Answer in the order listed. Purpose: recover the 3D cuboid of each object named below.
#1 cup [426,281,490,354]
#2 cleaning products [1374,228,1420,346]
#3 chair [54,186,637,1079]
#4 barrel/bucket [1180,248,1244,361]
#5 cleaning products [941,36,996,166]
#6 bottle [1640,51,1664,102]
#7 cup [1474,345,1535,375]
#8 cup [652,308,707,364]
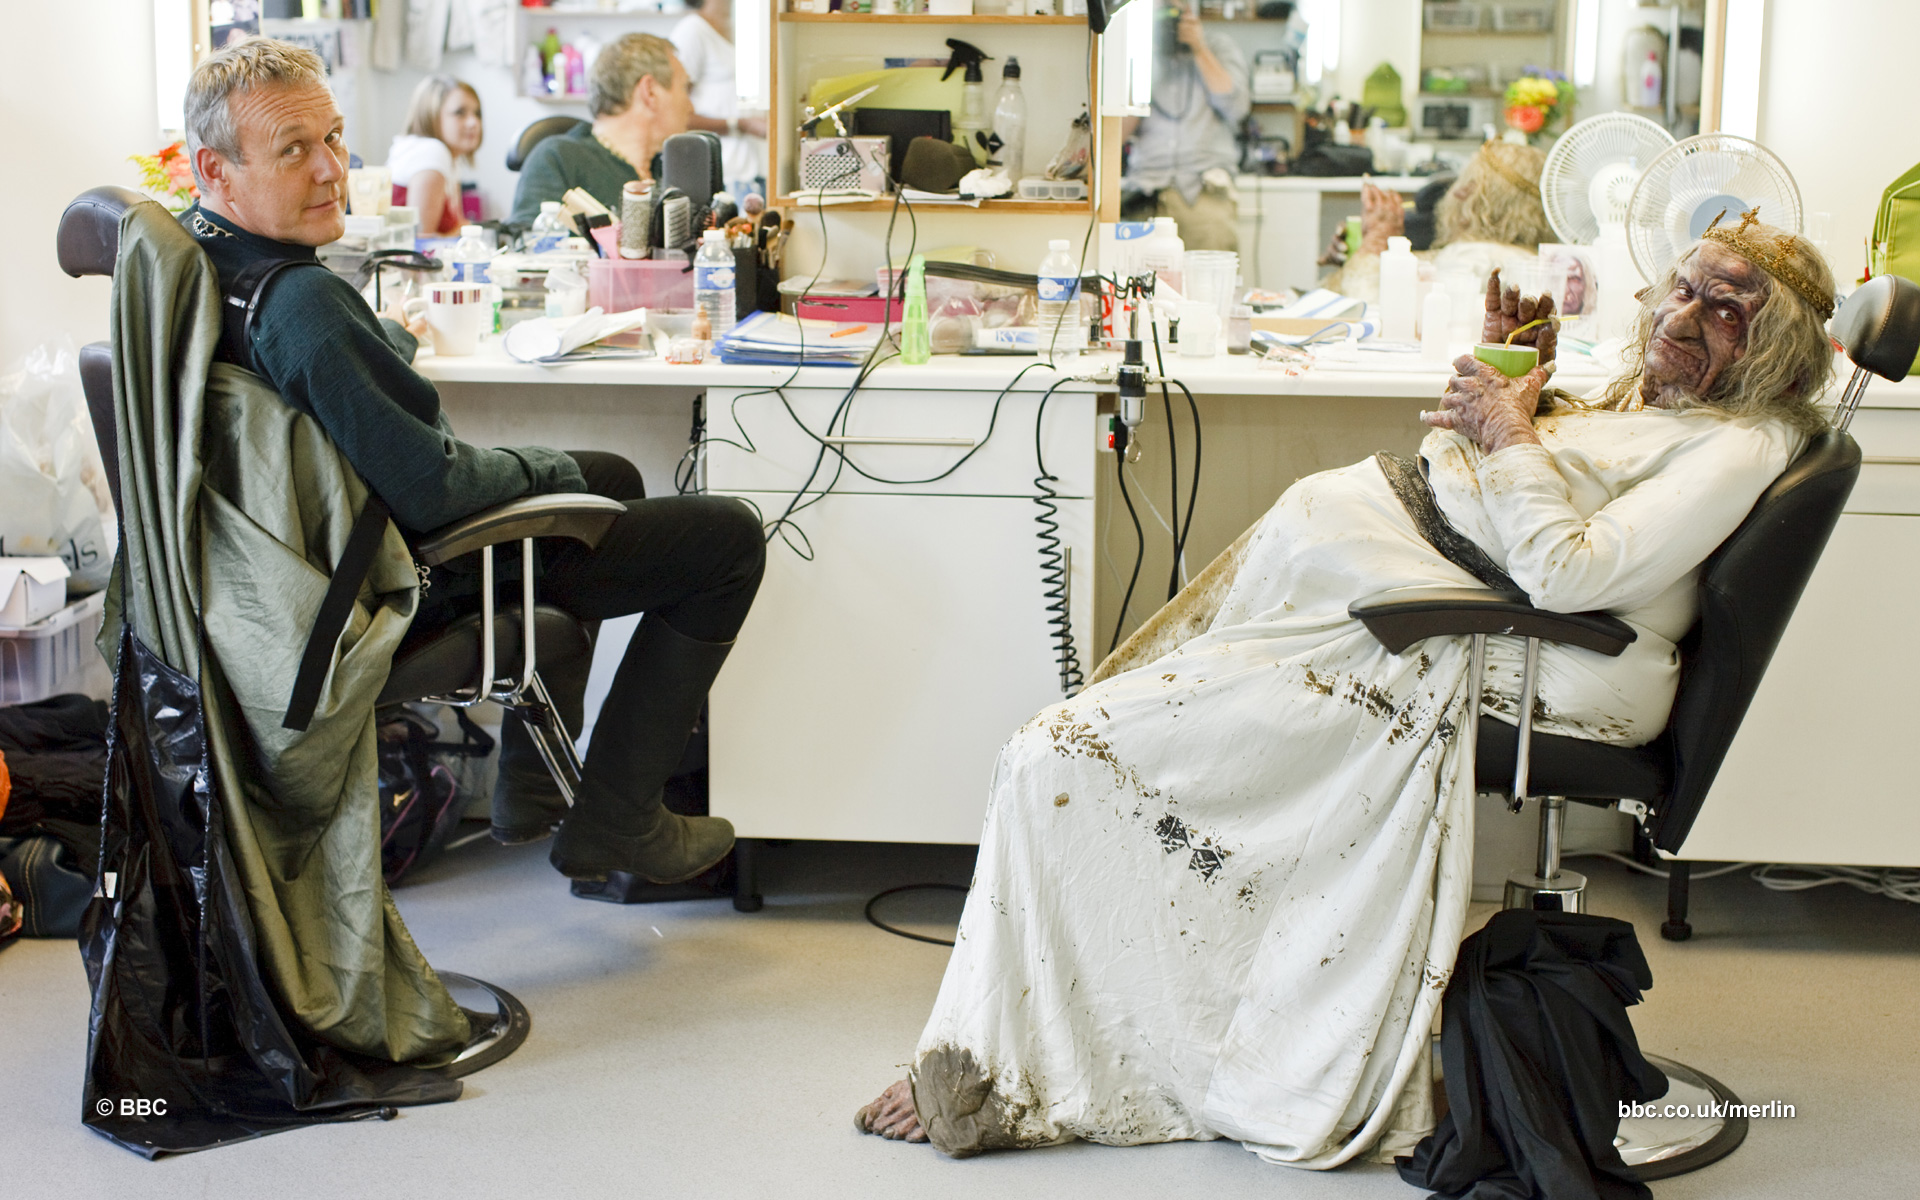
[{"bbox_3d":[-1.054,-0.601,3.824,0.127,0.140,0.139,2,4,0],"label":"cup"},{"bbox_3d":[0.982,-0.710,4.103,0.125,0.134,0.317,-2,-23,10],"label":"cleaning products"},{"bbox_3d":[-1.167,0.050,3.403,0.853,1.672,0.786,1,7,42],"label":"chair"},{"bbox_3d":[0.553,-0.669,4.047,0.142,0.262,0.246,2,10,8],"label":"barrel/bucket"},{"bbox_3d":[0.019,-1.147,4.191,0.129,0.299,0.125,0,11,-2],"label":"cleaning products"},{"bbox_3d":[1.692,-1.285,4.427,0.016,0.111,0.070,-8,17,-26],"label":"bottle"},{"bbox_3d":[1.018,-0.454,3.364,0.090,0.060,0.094,-2,6,0],"label":"cup"},{"bbox_3d":[-0.592,-0.567,3.858,0.113,0.060,0.168,0,17,-1],"label":"cup"}]
